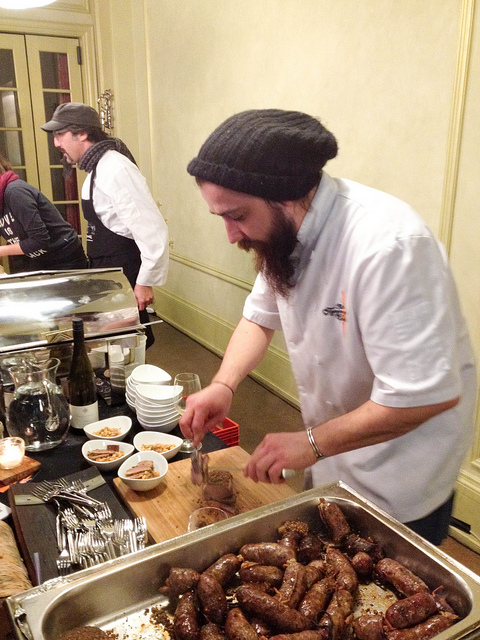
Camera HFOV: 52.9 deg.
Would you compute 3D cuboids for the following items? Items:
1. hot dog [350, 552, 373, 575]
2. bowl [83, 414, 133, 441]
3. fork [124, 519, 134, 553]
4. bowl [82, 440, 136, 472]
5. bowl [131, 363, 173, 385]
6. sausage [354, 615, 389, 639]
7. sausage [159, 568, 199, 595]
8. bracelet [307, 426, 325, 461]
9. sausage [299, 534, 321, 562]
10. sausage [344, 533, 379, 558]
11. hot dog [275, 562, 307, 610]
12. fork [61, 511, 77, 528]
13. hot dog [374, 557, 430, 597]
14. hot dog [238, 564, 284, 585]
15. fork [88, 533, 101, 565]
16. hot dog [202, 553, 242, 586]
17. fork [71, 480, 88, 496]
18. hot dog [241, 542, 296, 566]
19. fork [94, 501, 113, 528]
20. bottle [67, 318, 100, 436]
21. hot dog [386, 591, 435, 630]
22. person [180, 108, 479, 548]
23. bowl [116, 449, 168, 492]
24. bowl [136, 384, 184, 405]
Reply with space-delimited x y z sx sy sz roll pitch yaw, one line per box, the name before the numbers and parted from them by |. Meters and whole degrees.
hot dog | 0.194 0.390 0.776 0.030 0.035 0.028 3 -10 -22
bowl | -0.409 0.338 1.486 0.089 0.033 0.078 -3 18 -17
fork | -0.232 0.445 1.010 0.015 0.014 0.110 0 31 -15
bowl | -0.371 0.373 1.357 0.090 0.033 0.086 4 11 -1
bowl | -0.336 0.194 1.683 0.183 0.051 0.136 -3 2 43
sausage | 0.174 0.411 0.642 0.035 0.029 0.014 11 3 7
sausage | -0.090 0.390 0.720 0.053 0.036 0.020 0 10 6
bracelet | 0.145 0.244 0.948 0.014 0.052 0.052 -14 7 12
sausage | 0.120 0.394 0.828 0.036 0.021 0.041 -4 1 8
sausage | 0.207 0.377 0.814 0.033 0.014 0.036 1 7 -14
hot dog | 0.076 0.384 0.713 0.035 0.075 0.025 6 8 0
fork | -0.376 0.433 1.055 0.009 0.010 0.081 -13 21 -33
hot dog | 0.242 0.389 0.724 0.026 0.031 0.064 30 -13 -27
hot dog | 0.034 0.394 0.742 0.039 0.016 0.033 2 -4 17
fork | -0.285 0.448 0.953 0.014 0.016 0.127 1 4 -18
hot dog | -0.026 0.385 0.741 0.025 0.024 0.057 1 8 30
fork | -0.392 0.414 1.182 0.017 0.008 0.053 -6 24 -34
hot dog | 0.044 0.376 0.769 0.077 0.036 0.029 2 6 12
fork | -0.303 0.430 1.071 0.019 0.021 0.115 2 -1 -19
bottle | -0.501 0.180 1.507 0.095 0.308 0.253 -5 2 -18
hot dog | 0.228 0.392 0.645 0.067 0.033 0.031 -22 -31 -1
person | 0.237 0.064 1.078 0.475 1.021 0.500 -3 3 34
bowl | -0.264 0.407 1.267 0.089 0.043 0.114 5 21 4
bowl | -0.259 0.235 1.528 0.098 0.037 0.085 -9 12 -39
